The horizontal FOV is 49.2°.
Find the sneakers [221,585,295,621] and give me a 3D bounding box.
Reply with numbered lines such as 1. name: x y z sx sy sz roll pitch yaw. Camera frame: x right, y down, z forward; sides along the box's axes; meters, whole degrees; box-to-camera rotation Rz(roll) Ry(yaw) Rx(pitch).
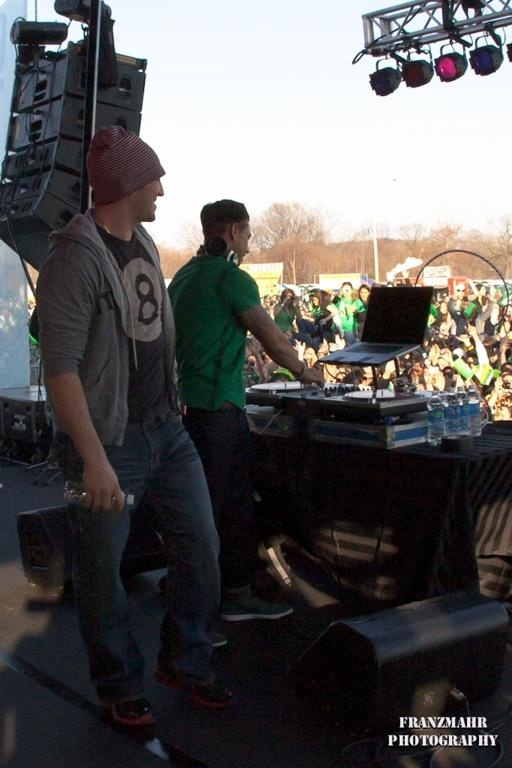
1. sneakers: 0.027 0.825 2.146 0.309 0.148 0.107 -3 1 -8

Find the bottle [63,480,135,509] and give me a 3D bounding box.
1. bottle: -0.327 0.240 1.189 0.150 0.065 0.171 0 -3 -19

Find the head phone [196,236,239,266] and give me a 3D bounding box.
1. head phone: -0.125 -0.440 1.923 0.096 0.046 0.118 21 -5 18

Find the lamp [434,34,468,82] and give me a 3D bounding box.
1. lamp: 1.828 -3.008 5.217 0.298 0.280 0.342 -2 -3 18

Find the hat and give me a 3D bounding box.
1. hat: -0.293 -0.500 1.263 0.127 0.150 0.178 9 22 41

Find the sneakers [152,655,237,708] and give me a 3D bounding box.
1. sneakers: -0.132 0.774 1.484 0.246 0.101 0.090 29 -37 -5

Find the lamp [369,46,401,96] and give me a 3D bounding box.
1. lamp: 1.327 -3.085 5.639 0.315 0.354 0.240 -4 -5 43

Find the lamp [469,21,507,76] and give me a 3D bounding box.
1. lamp: 2.095 -2.998 5.069 0.279 0.340 0.460 -3 -4 25

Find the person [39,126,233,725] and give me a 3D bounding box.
1. person: -0.315 0.129 1.313 0.276 1.392 0.568 -3 -4 27

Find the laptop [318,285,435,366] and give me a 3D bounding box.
1. laptop: 0.419 -0.216 1.982 0.335 0.218 0.299 -20 19 -40

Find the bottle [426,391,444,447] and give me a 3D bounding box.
1. bottle: 0.593 0.113 1.841 0.058 0.162 0.200 -2 -3 17
